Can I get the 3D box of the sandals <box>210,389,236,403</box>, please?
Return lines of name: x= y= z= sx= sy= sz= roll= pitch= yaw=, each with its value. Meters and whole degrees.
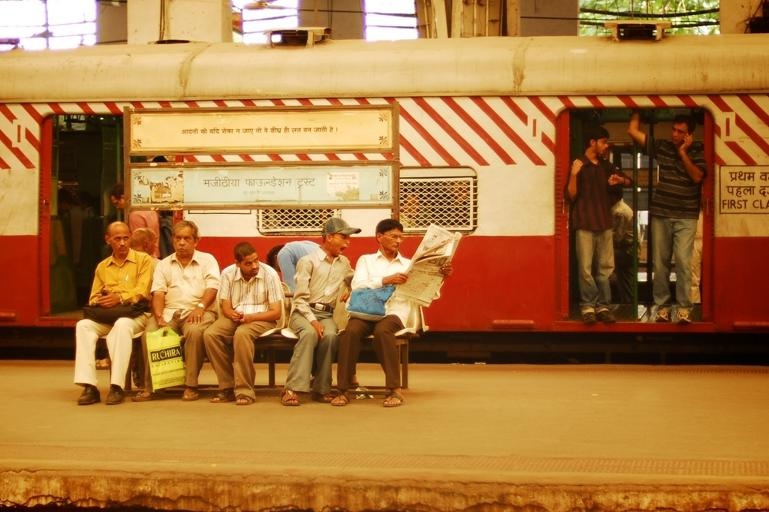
sandals: x=-1.767 y=1.575 z=12.425 sx=0.282 sy=0.108 sz=0.117 roll=4 pitch=-4 yaw=-31

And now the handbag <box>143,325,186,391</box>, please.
handbag: x=-2.402 y=1.126 z=12.373 sx=0.404 sy=0.662 sz=0.216 roll=-5 pitch=8 yaw=-13

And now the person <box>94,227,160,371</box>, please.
person: x=-2.828 y=0.454 z=13.502 sx=1.237 sy=1.643 sz=0.506 roll=-1 pitch=-4 yaw=15

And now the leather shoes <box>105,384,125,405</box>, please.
leather shoes: x=-2.950 y=1.514 z=12.296 sx=0.200 sy=0.212 sz=0.152 roll=-5 pitch=8 yaw=-15

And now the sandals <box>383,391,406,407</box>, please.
sandals: x=0.104 y=1.554 z=12.269 sx=0.216 sy=0.151 sz=0.263 roll=-3 pitch=7 yaw=0

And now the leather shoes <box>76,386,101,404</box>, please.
leather shoes: x=-3.236 y=1.521 z=12.317 sx=0.245 sy=0.198 sz=0.266 roll=-5 pitch=8 yaw=-16

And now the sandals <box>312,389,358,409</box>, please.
sandals: x=-0.574 y=1.551 z=12.428 sx=0.546 sy=0.172 sz=0.236 roll=5 pitch=-14 yaw=42

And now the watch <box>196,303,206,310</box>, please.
watch: x=-2.039 y=0.562 z=12.542 sx=0.078 sy=0.076 sz=0.049 roll=1 pitch=20 yaw=-24

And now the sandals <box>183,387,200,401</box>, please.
sandals: x=-2.139 y=1.527 z=12.465 sx=0.171 sy=0.149 sz=0.145 roll=-4 pitch=8 yaw=-10

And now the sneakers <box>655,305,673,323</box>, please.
sneakers: x=3.465 y=0.733 z=13.969 sx=0.137 sy=0.082 sz=0.242 roll=3 pitch=20 yaw=13

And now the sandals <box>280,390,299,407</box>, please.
sandals: x=-1.023 y=1.561 z=12.223 sx=0.162 sy=0.106 sz=0.303 roll=0 pitch=-5 yaw=-3

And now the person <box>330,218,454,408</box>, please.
person: x=-0.079 y=0.620 z=12.372 sx=1.006 sy=1.984 sz=0.700 roll=-3 pitch=8 yaw=0

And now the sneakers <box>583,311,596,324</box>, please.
sneakers: x=2.530 y=0.755 z=13.859 sx=0.173 sy=0.155 sz=0.100 roll=-2 pitch=8 yaw=8

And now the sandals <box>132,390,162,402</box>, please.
sandals: x=-2.634 y=1.570 z=12.500 sx=0.302 sy=0.122 sz=0.108 roll=5 pitch=-3 yaw=-10

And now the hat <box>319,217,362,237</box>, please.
hat: x=-0.480 y=-0.319 z=12.537 sx=0.336 sy=0.159 sz=0.215 roll=2 pitch=1 yaw=2

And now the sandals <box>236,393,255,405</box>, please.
sandals: x=-1.516 y=1.573 z=12.285 sx=0.204 sy=0.106 sz=0.122 roll=-3 pitch=8 yaw=-7
